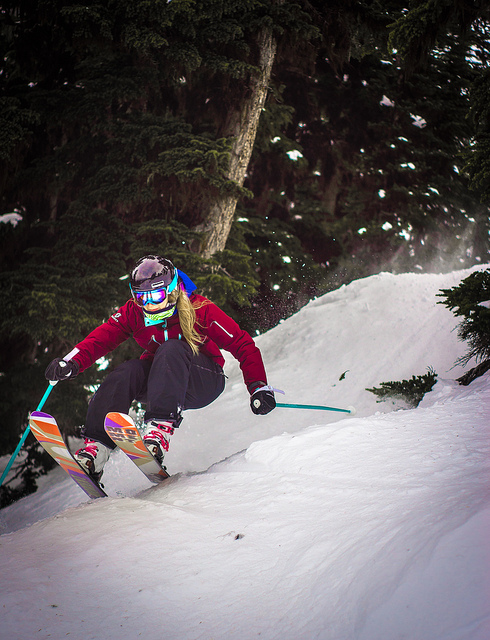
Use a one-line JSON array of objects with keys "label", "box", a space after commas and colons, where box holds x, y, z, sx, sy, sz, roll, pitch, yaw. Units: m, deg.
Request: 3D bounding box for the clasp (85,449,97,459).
[{"label": "clasp", "box": [-0.897, 0.775, 3.765, 0.041, 0.085, 0.029, -31, 0, -21]}]

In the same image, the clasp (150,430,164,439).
[{"label": "clasp", "box": [-0.491, 0.640, 3.611, 0.085, 0.032, 0.028, 34, 11, -11]}]

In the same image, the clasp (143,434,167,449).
[{"label": "clasp", "box": [-0.503, 0.676, 3.573, 0.091, 0.028, 0.038, 42, 40, -5]}]

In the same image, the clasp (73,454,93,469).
[{"label": "clasp", "box": [-0.927, 0.815, 3.719, 0.095, 0.034, 0.067, 24, -7, 15]}]

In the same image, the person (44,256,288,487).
[{"label": "person", "box": [-0.500, 0.326, 4.263, 1.581, 1.306, 1.008, 4, -14, -10]}]

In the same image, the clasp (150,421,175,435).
[{"label": "clasp", "box": [-0.466, 0.617, 3.691, 0.103, 0.025, 0.072, 23, -7, -4]}]

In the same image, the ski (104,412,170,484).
[{"label": "ski", "box": [-0.575, 0.690, 3.473, 0.191, 0.072, 0.684, 6, 22, -37]}]

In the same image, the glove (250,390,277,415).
[{"label": "glove", "box": [0.119, 0.522, 4.003, 0.142, 0.165, 0.118, -6, 12, 4]}]
